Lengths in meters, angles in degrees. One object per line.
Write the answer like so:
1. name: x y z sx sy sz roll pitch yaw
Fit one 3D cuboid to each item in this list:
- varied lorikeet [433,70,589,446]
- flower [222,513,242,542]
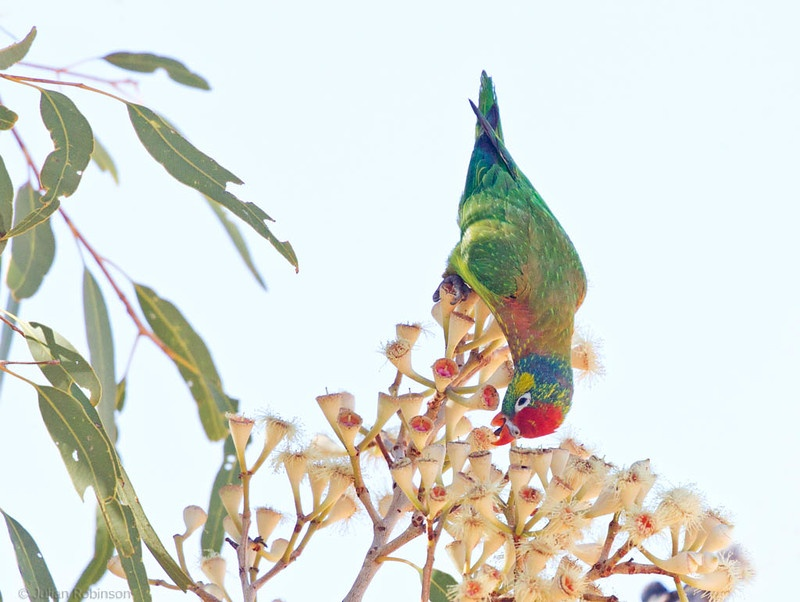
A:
1. varied lorikeet: 0.447 -0.215 4.870 0.620 1.767 0.495 -12 -27 34
2. flower: -0.494 0.664 3.648 0.072 0.021 0.056 58 -21 23
